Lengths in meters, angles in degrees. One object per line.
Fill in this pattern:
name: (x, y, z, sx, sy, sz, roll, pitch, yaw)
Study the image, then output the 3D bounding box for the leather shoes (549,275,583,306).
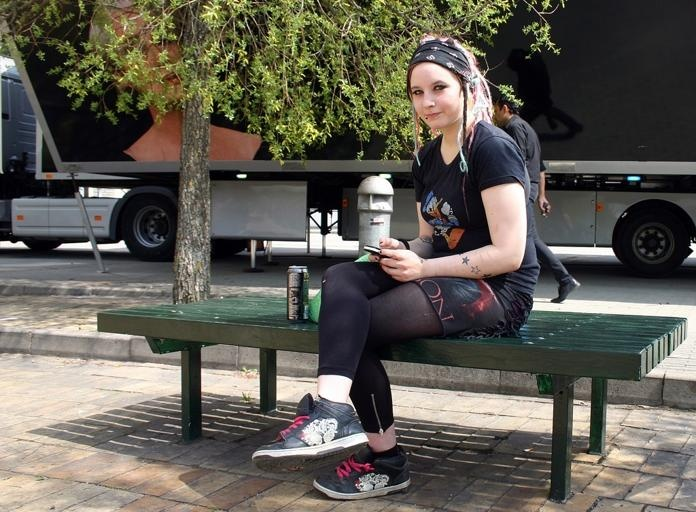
leather shoes: (2.562, 0.396, 6.403, 0.234, 0.169, 0.507, 26, -30, -3)

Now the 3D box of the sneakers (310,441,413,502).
sneakers: (0.070, 0.986, 2.500, 0.492, 0.195, 0.190, 0, -1, -9)

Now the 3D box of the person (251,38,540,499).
person: (0.300, 0.054, 2.399, 1.206, 2.074, 0.535, -1, 3, -15)

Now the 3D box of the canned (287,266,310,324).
canned: (-0.268, 0.203, 2.756, 0.127, 0.251, 0.118, 0, -3, 7)
